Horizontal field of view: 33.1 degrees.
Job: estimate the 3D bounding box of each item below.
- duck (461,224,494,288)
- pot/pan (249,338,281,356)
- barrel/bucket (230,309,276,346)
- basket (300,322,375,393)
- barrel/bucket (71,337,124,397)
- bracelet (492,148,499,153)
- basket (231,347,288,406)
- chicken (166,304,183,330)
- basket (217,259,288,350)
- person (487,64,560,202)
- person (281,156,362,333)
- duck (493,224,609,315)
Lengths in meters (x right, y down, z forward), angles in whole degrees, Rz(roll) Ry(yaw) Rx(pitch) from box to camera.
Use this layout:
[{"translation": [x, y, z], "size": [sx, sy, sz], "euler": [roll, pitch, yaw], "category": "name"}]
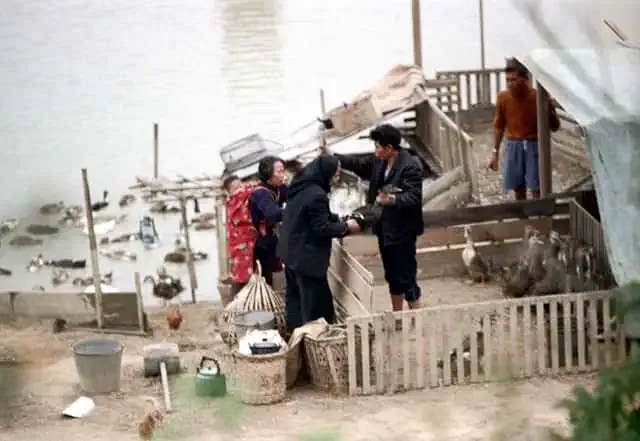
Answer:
[{"translation": [2.632, 0.570, 18.534], "size": [0.582, 1.003, 0.469], "euler": [-8, 26, -9], "category": "duck"}, {"translation": [-0.834, 1.862, 16.047], "size": [0.295, 0.129, 0.235], "euler": [-2, 2, -21], "category": "pot/pan"}, {"translation": [-0.998, 1.550, 16.774], "size": [0.533, 0.510, 0.698], "euler": [10, 22, 28], "category": "barrel/bucket"}, {"translation": [0.159, 2.070, 16.409], "size": [0.994, 1.018, 1.218], "euler": [-6, 3, -26], "category": "basket"}, {"translation": [-3.441, 2.158, 16.657], "size": [0.721, 0.844, 0.641], "euler": [-4, 13, -14], "category": "barrel/bucket"}, {"translation": [3.121, -1.265, 19.254], "size": [0.089, 0.080, 0.087], "euler": [3, -4, -25], "category": "bracelet"}, {"translation": [-0.861, 2.200, 16.250], "size": [0.877, 0.733, 0.871], "euler": [-14, 22, -40], "category": "basket"}, {"translation": [-2.585, 1.711, 19.190], "size": [0.260, 0.410, 0.751], "euler": [-3, 0, -9], "category": "chicken"}, {"translation": [-1.095, 1.198, 17.281], "size": [1.015, 1.334, 1.013], "euler": [-10, 23, -27], "category": "basket"}, {"translation": [3.513, -1.516, 18.804], "size": [0.961, 2.443, 1.054], "euler": [-1, 2, 14], "category": "person"}, {"translation": [-0.090, 0.328, 16.514], "size": [1.143, 2.549, 0.614], "euler": [-3, 1, 2], "category": "person"}, {"translation": [3.709, 0.913, 17.748], "size": [1.989, 1.327, 1.051], "euler": [-1, 15, -7], "category": "duck"}]
